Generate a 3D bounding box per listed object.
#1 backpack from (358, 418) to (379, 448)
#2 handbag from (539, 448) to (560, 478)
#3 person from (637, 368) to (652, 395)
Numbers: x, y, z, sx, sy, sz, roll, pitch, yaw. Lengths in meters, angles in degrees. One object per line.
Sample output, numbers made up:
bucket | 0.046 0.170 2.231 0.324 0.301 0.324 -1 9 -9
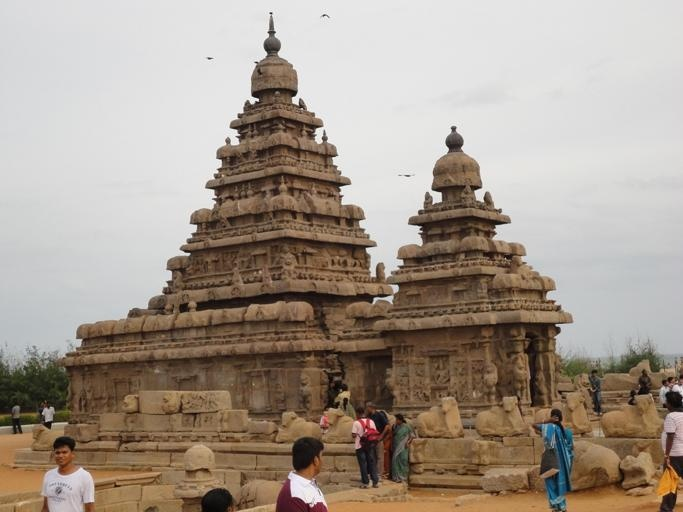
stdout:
backpack | 0.659 4.222 22.059 0.509 0.671 0.336 -2 -16 -8
handbag | 4.072 4.052 18.012 0.364 0.563 0.189 -8 -17 11
person | 9.190 3.816 28.007 0.358 0.892 1.615 -9 -18 17
